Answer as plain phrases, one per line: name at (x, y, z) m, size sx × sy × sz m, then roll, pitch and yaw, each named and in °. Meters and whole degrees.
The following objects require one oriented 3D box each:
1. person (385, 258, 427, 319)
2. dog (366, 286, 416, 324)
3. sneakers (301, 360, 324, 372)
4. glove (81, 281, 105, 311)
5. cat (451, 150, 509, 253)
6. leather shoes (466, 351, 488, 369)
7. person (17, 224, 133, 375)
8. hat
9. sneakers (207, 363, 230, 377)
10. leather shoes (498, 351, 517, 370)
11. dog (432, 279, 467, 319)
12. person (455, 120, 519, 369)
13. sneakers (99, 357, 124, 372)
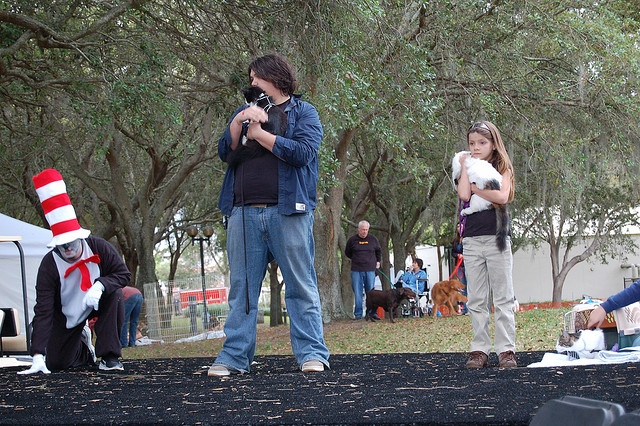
person at (2.690, 2.116, 18.027) m, size 1.060 × 1.543 × 1.037 m, roll -2°, pitch 10°, yaw -10°
dog at (1.575, 2.187, 14.722) m, size 1.364 × 0.856 × 0.363 m, roll 0°, pitch -2°, yaw 28°
sneakers at (-0.082, 1.564, 6.313) m, size 0.191 × 0.091 × 0.106 m, roll -2°, pitch 1°, yaw -21°
glove at (-2.625, 0.962, 7.085) m, size 0.218 × 0.332 × 0.349 m, roll 2°, pitch -9°, yaw -35°
cat at (1.806, -0.200, 6.836) m, size 0.389 × 1.363 × 0.586 m, roll -9°, pitch -33°, yaw -3°
leather shoes at (1.647, 1.547, 6.482) m, size 0.213 × 0.160 × 0.386 m, roll -6°, pitch -9°, yaw 16°
person at (-2.972, 0.969, 7.204) m, size 1.349 × 1.794 × 1.077 m, roll -5°, pitch -3°, yaw -44°
hat at (-2.989, -0.075, 7.099) m, size 0.577 × 0.902 × 0.278 m, roll -1°, pitch -8°, yaw -21°
sneakers at (-1.042, 1.606, 6.267) m, size 0.241 × 0.120 × 0.166 m, roll -4°, pitch -8°, yaw 0°
leather shoes at (1.994, 1.560, 6.581) m, size 0.196 × 0.152 × 0.239 m, roll -6°, pitch -8°, yaw 15°
dog at (3.687, 2.480, 18.062) m, size 0.495 × 0.981 × 1.586 m, roll -4°, pitch -10°, yaw -26°
person at (1.846, 0.303, 6.773) m, size 0.632 × 2.703 × 0.442 m, roll -5°, pitch -7°, yaw 14°
sneakers at (-2.384, 1.735, 7.041) m, size 0.141 × 0.132 × 0.301 m, roll 8°, pitch -13°, yaw -43°
